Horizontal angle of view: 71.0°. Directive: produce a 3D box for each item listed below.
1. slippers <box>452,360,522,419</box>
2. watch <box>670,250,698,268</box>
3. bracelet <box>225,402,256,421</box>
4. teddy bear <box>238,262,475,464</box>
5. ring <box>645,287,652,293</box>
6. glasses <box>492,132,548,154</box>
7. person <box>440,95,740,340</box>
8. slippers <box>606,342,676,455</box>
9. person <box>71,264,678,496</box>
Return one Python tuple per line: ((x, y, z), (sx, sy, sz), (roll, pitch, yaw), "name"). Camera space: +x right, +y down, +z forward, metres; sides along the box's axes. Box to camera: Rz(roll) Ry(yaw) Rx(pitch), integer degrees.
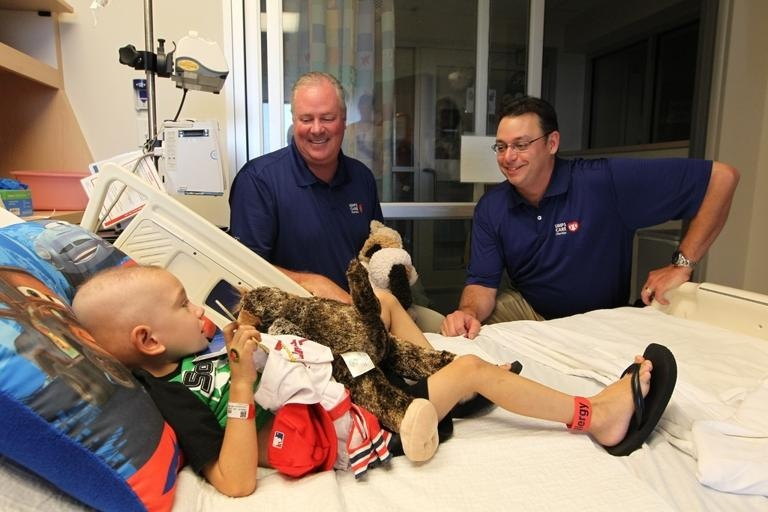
((0.342, 0.461, 1.831), (0.239, 0.095, 0.074), (-40, 36, -20), "slippers")
((1.494, 0.014, 2.670), (0.084, 0.053, 0.087), (10, 21, -2), "watch")
((-0.429, 0.464, 1.602), (0.056, 0.036, 0.057), (2, -3, 0), "bracelet")
((-0.095, 0.318, 1.851), (0.770, 0.340, 0.534), (28, 22, 10), "teddy bear")
((1.289, 0.165, 2.602), (0.019, 0.010, 0.026), (9, 48, 0), "ring")
((0.716, -0.589, 2.829), (0.275, 0.097, 0.128), (5, 20, 19), "glasses")
((1.050, -0.138, 2.934), (1.554, 1.400, 0.747), (-3, 8, 12), "person")
((0.897, 0.487, 1.841), (0.106, 0.406, 0.196), (27, -6, -22), "slippers")
((-0.053, 0.456, 1.744), (1.386, 0.480, 0.906), (11, 5, -11), "person")
